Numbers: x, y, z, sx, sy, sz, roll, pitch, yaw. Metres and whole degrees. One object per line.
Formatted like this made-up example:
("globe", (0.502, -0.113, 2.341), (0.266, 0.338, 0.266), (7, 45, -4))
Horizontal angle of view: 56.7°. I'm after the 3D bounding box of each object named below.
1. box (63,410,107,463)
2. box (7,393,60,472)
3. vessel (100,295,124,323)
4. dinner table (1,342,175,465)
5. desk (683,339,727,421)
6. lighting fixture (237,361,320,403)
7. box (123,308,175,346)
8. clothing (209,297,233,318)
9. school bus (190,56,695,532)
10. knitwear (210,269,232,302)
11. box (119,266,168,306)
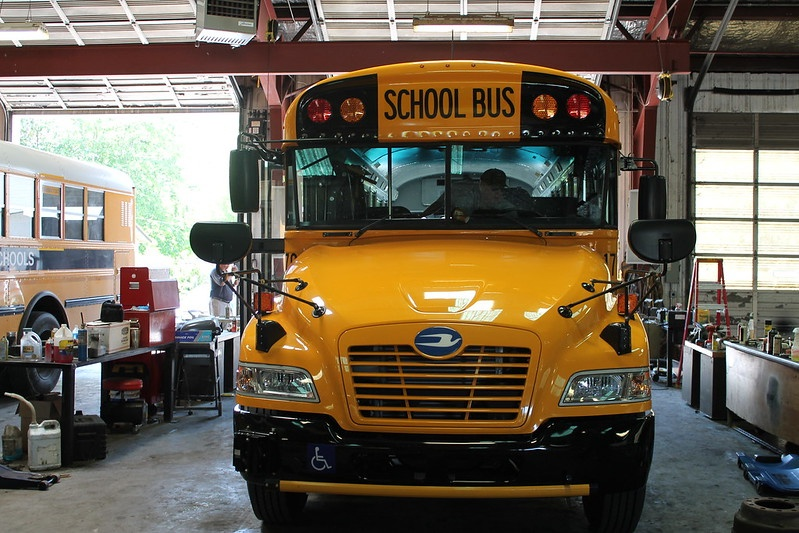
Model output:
("box", (-3.763, 2.091, 8.848), (0.430, 0.511, 0.760), (1, -1, -28))
("box", (-4.022, 1.912, 8.386), (0.356, 0.716, 0.385), (-3, 9, -26))
("vessel", (-3.719, 0.577, 9.546), (0.242, 0.318, 0.337), (1, -6, -6))
("dinner table", (-3.966, 1.394, 9.051), (1.172, 1.028, 2.185), (4, 4, 21))
("desk", (4.386, 1.652, 10.593), (0.352, 0.699, 1.114), (1, 0, 6))
("lighting fixture", (-1.073, 1.007, 6.396), (0.489, 0.171, 0.372), (1, -3, 6))
("box", (-3.306, 0.820, 9.920), (0.417, 0.456, 0.765), (-1, -1, 9))
("clothing", (-3.254, 0.742, 13.574), (0.324, 0.418, 0.465), (-6, 1, -1))
("school bus", (0.630, 0.269, 8.970), (3.239, 3.057, 5.583), (0, -4, 3))
("knitwear", (-3.295, 0.326, 13.581), (0.351, 0.611, 0.546), (1, -1, -5))
("box", (-3.444, 0.272, 10.321), (0.482, 0.559, 0.871), (1, 1, 13))
